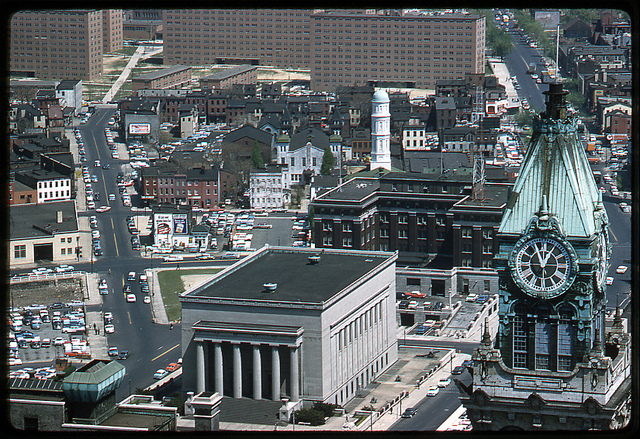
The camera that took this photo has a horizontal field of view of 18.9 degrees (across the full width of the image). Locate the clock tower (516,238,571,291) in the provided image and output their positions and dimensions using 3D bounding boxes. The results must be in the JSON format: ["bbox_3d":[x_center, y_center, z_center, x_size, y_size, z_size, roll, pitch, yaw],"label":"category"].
[{"bbox_3d":[9.309,1.813,78.227,2.983,2.121,0.193,2,-3,1],"label":"clock tower"}]

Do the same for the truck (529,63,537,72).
[{"bbox_3d":[23.353,-16.730,208.363,1.243,0.947,4.750,0,6,9],"label":"truck"}]
